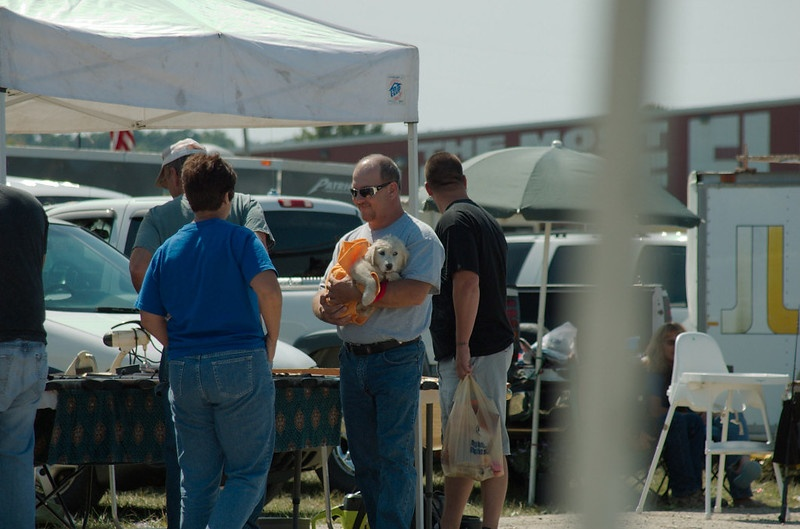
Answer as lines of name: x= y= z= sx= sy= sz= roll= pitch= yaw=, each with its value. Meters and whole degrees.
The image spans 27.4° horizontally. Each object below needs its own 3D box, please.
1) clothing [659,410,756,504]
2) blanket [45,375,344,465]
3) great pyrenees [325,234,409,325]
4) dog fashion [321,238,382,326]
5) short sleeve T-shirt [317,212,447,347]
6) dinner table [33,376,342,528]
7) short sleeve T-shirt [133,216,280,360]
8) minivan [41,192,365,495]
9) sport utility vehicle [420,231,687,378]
clothing: x=2.694 y=1.719 z=14.772 sx=0.802 sy=1.008 sz=0.872 roll=1 pitch=1 yaw=23
blanket: x=-2.344 y=1.334 z=13.469 sx=2.852 sy=0.565 sz=2.971 roll=-1 pitch=-7 yaw=13
great pyrenees: x=-0.237 y=-0.085 z=12.255 sx=0.645 sy=0.312 sz=0.506 roll=-10 pitch=31 yaw=3
dog fashion: x=-0.378 y=0.103 z=12.188 sx=0.231 sy=0.572 sz=0.445 roll=13 pitch=3 yaw=-27
short sleeve T-shirt: x=-0.099 y=0.133 z=12.442 sx=1.210 sy=1.101 sz=0.640 roll=1 pitch=-9 yaw=45
dinner table: x=-1.669 y=1.296 z=12.470 sx=1.338 sy=0.839 sz=1.327 roll=3 pitch=-6 yaw=-22
short sleeve T-shirt: x=-1.372 y=0.184 z=12.027 sx=1.195 sy=1.028 sz=0.613 roll=-8 pitch=-3 yaw=26
minivan: x=-1.679 y=0.268 z=15.875 sx=3.610 sy=1.724 sz=1.897 roll=5 pitch=4 yaw=34
sport utility vehicle: x=1.062 y=0.298 z=11.706 sx=2.428 sy=1.366 sz=1.412 roll=1 pitch=0 yaw=8
